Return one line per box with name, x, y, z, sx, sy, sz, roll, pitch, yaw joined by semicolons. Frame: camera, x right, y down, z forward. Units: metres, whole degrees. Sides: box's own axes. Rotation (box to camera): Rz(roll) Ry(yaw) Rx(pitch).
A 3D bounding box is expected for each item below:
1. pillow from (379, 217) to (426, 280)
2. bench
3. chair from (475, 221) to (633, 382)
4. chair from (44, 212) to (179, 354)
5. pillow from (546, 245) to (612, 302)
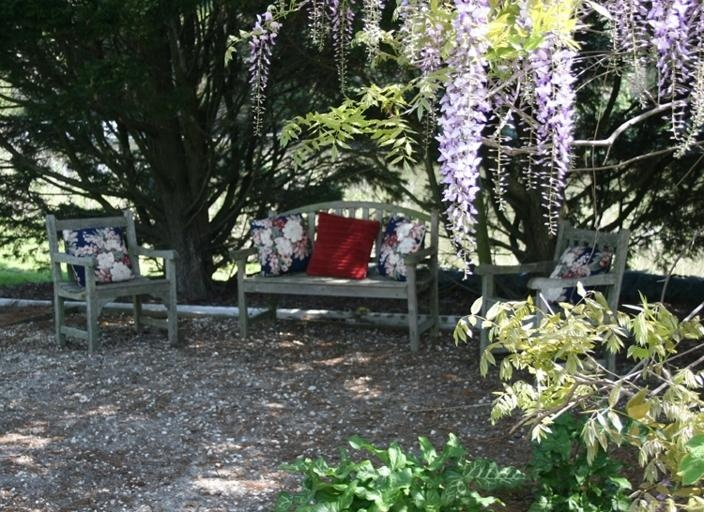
pillow;0.320;-0.068;6.284;0.181;0.399;0.395;17;-8;-39
bench;-0.118;0.138;6.356;1.311;0.969;0.529;1;11;20
chair;1.232;0.303;5.767;0.695;0.999;0.743;-5;11;-14
chair;-1.617;0.163;6.279;0.653;0.901;0.751;0;6;34
pillow;1.413;0.122;5.665;0.399;0.347;0.521;-1;3;16
